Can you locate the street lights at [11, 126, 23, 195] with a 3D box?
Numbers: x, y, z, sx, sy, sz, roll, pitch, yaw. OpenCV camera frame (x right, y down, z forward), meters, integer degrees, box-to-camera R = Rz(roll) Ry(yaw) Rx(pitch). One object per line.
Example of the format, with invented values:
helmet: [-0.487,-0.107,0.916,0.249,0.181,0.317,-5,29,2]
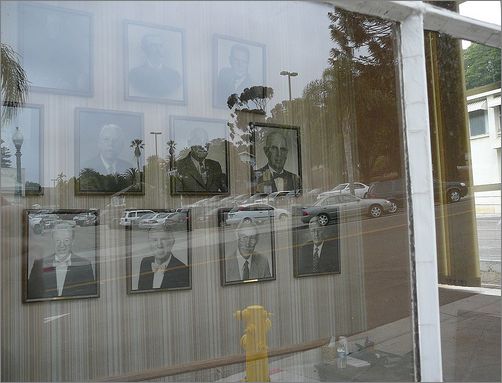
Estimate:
street lights: [-1.027,-0.133,2.593,0.050,0.306,0.015,-4,-2,6]

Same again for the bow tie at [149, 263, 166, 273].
bow tie: [-0.415,0.342,2.664,0.075,0.033,0.008,-5,-2,0]
